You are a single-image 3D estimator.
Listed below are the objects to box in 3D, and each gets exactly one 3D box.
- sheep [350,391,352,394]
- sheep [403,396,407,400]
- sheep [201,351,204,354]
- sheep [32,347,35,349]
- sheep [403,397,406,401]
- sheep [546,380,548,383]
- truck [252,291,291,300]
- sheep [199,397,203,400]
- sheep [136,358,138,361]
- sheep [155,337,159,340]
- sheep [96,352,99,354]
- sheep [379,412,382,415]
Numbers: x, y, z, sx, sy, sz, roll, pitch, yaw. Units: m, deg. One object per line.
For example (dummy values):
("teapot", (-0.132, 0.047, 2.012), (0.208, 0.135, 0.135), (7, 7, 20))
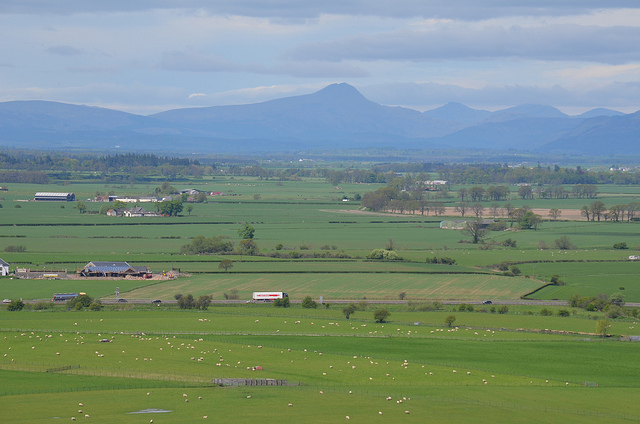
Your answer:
("sheep", (5.404, 30.845, 270.928), (0.378, 0.393, 0.384), (2, 2, -12))
("sheep", (14.504, 31.709, 270.542), (0.427, 0.466, 0.509), (2, 2, 0))
("sheep", (-20.443, 24.534, 277.078), (0.322, 0.395, 0.557), (3, 2, 17))
("sheep", (-49.950, 23.736, 277.303), (0.322, 0.288, 0.419), (2, 2, -11))
("sheep", (14.499, 31.805, 270.450), (0.427, 0.464, 0.520), (2, 2, 0))
("sheep", (39.222, 29.189, 273.496), (0.237, 0.380, 0.427), (2, 2, -3))
("truck", (-10.226, 15.394, 293.169), (10.159, 1.870, 2.018), (0, -5, 0))
("sheep", (-20.218, 31.693, 269.727), (0.521, 0.300, 0.564), (-1, -1, 33))
("sheep", (-31.674, 25.598, 275.550), (0.215, 0.394, 0.425), (2, 2, -9))
("sheep", (-28.585, 22.246, 279.936), (0.542, 0.391, 0.595), (2, 2, -5))
("sheep", (-38.646, 24.543, 276.528), (0.488, 0.294, 0.512), (1, 2, -19))
("sheep", (10.373, 34.058, 268.417), (0.446, 0.391, 0.274), (2, 2, 2))
